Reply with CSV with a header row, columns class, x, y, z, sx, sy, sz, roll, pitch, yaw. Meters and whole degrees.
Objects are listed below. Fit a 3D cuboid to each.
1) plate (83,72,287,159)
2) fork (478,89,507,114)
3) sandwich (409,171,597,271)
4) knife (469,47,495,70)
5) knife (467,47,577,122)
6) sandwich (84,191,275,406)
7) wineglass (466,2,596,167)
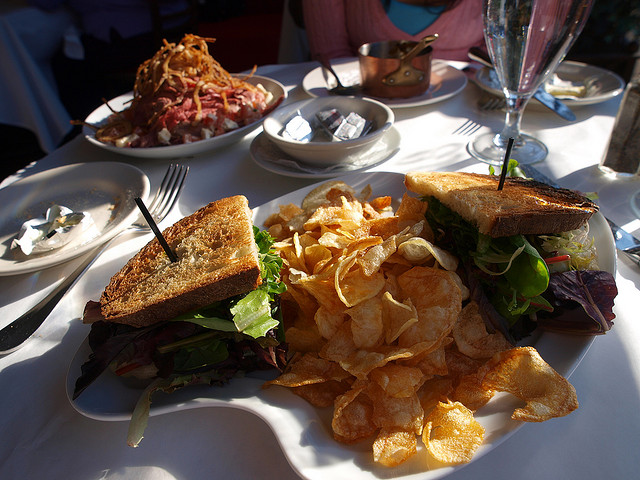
class,x,y,z,sx,sy,sz,roll,pitch,yaw
plate,-0.541,-0.405,1.953,0.754,0.372,0.378,-11,18,-9
fork,0.609,-0.491,1.837,0.064,0.023,0.127,7,50,22
sandwich,0.447,-0.051,1.155,0.285,0.067,0.283,-6,23,-15
knife,0.548,-0.621,1.778,0.049,0.058,0.211,-37,12,9
knife,0.654,-0.487,1.634,0.090,0.047,0.519,-26,45,-21
sandwich,-0.319,0.110,1.209,0.364,0.122,0.534,-15,36,-3
wineglass,0.517,-0.370,1.566,0.313,0.611,0.336,5,23,-1
